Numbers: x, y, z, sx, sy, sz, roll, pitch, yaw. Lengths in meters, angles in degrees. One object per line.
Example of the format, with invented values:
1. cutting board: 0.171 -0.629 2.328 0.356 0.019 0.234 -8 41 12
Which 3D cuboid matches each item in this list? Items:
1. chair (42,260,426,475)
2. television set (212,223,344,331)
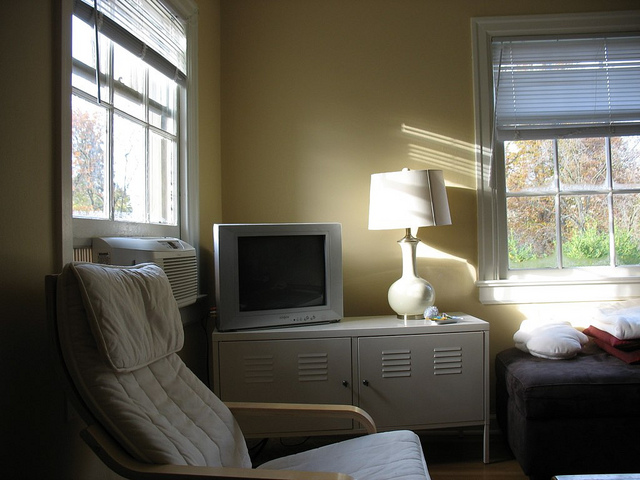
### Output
1. chair: -0.290 0.561 2.560 1.412 1.311 1.041 0 -2 -5
2. television set: -0.233 0.157 3.215 0.938 0.841 0.494 -2 4 -12
